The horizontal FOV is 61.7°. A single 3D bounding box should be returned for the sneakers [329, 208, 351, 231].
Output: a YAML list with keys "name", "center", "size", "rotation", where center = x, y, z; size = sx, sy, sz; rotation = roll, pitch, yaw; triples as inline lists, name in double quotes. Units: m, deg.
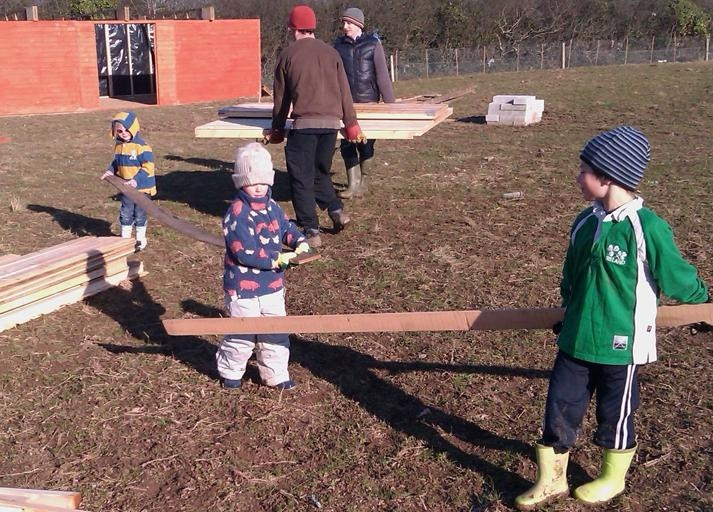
- name: "sneakers"
  center: [-0.244, -0.440, 7.328]
  size: [0.142, 0.289, 0.266]
  rotation: [-29, 75, -32]

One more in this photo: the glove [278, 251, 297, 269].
- name: "glove"
  center: [-0.509, 0.043, 4.257]
  size: [0.133, 0.141, 0.163]
  rotation: [-4, 20, -5]

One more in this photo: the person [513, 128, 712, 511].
- name: "person"
  center: [1.466, 0.402, 3.369]
  size: [0.712, 2.136, 0.905]
  rotation: [10, 25, 27]

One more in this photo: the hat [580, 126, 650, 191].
- name: "hat"
  center: [1.474, -0.556, 3.409]
  size: [0.337, 0.348, 0.318]
  rotation: [9, 23, 26]

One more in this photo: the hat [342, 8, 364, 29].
- name: "hat"
  center: [-0.069, -3.242, 8.133]
  size: [0.374, 0.251, 0.270]
  rotation: [-16, 32, -29]

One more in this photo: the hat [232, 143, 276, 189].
- name: "hat"
  center: [-0.773, -0.643, 4.294]
  size: [0.346, 0.296, 0.331]
  rotation: [-3, 25, -11]

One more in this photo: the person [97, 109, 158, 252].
- name: "person"
  center: [-2.645, -0.860, 6.865]
  size: [0.569, 1.527, 0.962]
  rotation: [-10, 23, -18]

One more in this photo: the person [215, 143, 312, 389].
- name: "person"
  center: [-0.744, 0.142, 4.320]
  size: [0.617, 1.841, 0.761]
  rotation: [13, 27, 33]

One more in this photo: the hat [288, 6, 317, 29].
- name: "hat"
  center: [-0.637, -2.645, 6.635]
  size: [0.280, 0.271, 0.449]
  rotation: [-3, 20, -4]

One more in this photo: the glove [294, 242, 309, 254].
- name: "glove"
  center: [-0.415, -0.059, 4.306]
  size: [0.068, 0.036, 0.098]
  rotation: [10, 35, 22]
